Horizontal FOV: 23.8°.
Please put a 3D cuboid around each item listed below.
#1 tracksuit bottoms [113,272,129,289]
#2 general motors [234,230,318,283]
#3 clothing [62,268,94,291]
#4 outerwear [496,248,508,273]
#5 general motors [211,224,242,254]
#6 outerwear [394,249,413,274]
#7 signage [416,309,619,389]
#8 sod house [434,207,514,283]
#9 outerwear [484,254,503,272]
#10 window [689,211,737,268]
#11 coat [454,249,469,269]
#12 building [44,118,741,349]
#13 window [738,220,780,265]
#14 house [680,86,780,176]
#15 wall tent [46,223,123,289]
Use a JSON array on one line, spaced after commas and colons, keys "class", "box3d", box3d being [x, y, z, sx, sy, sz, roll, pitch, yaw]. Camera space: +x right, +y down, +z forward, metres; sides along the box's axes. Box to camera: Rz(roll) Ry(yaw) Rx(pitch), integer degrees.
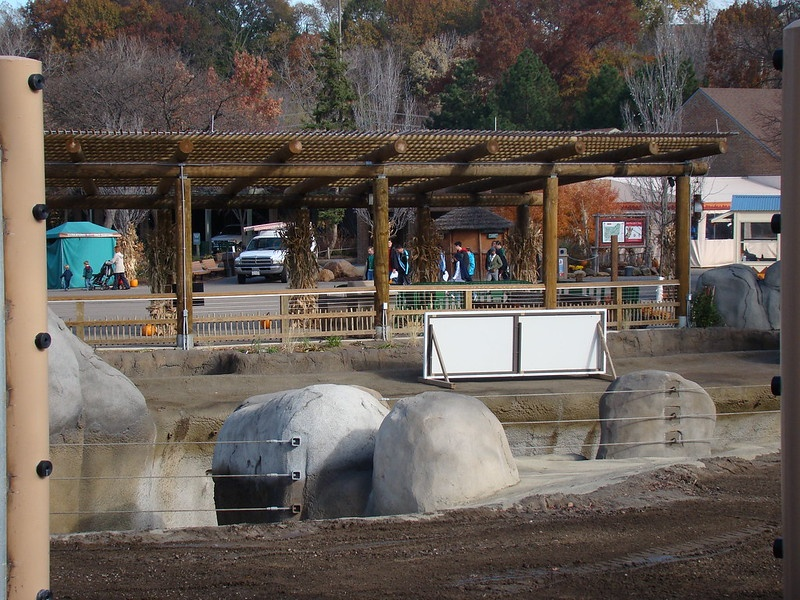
[{"class": "tracksuit bottoms", "box3d": [-11.536, -0.910, 78.183, 0.493, 0.440, 1.190, 10, 6, -18]}, {"class": "general motors", "box3d": [-6.015, -2.056, 80.345, 1.907, 2.176, 4.390, -1, 0, 9]}, {"class": "clothing", "box3d": [-13.446, -1.050, 80.042, 0.734, 1.108, 1.511, 2, 9, 26]}, {"class": "outerwear", "box3d": [3.751, -1.547, 70.053, 0.427, 1.452, 0.663, 1, -8, -3]}, {"class": "general motors", "box3d": [-8.331, -3.120, 91.762, 0.915, 1.187, 2.052, -1, 0, 9]}, {"class": "outerwear", "box3d": [0.119, -1.481, 68.516, 0.574, 1.507, 0.424, -7, -11, 32]}, {"class": "signage", "box3d": [3.645, 1.318, 60.285, 5.657, 2.340, 0.733, -3, 0, 1]}, {"class": "sod house", "box3d": [3.101, -2.601, 77.760, 2.949, 3.212, 2.959, 0, 1, -19]}, {"class": "outerwear", "box3d": [3.463, -1.586, 70.463, 0.407, 0.713, 0.762, 6, -2, -36]}, {"class": "window", "box3d": [14.676, -2.841, 87.891, 1.487, 3.077, 1.709, 0, -18, 2]}, {"class": "coat", "box3d": [2.298, -1.662, 71.418, 0.504, 0.915, 0.679, 3, 3, 21]}, {"class": "building", "box3d": [-2.972, -2.333, 79.882, 22.687, 6.922, 37.733, -3, 0, -10]}, {"class": "window", "box3d": [15.158, -2.489, 80.373, 2.137, 2.496, 0.762, 0, -2, 28]}, {"class": "house", "box3d": [14.869, -7.609, 85.276, 5.443, 3.922, 6.069, 0, 0, 8]}, {"class": "wall tent", "box3d": [-13.872, -2.246, 82.026, 2.880, 3.161, 3.117, -1, 2, -22]}]
